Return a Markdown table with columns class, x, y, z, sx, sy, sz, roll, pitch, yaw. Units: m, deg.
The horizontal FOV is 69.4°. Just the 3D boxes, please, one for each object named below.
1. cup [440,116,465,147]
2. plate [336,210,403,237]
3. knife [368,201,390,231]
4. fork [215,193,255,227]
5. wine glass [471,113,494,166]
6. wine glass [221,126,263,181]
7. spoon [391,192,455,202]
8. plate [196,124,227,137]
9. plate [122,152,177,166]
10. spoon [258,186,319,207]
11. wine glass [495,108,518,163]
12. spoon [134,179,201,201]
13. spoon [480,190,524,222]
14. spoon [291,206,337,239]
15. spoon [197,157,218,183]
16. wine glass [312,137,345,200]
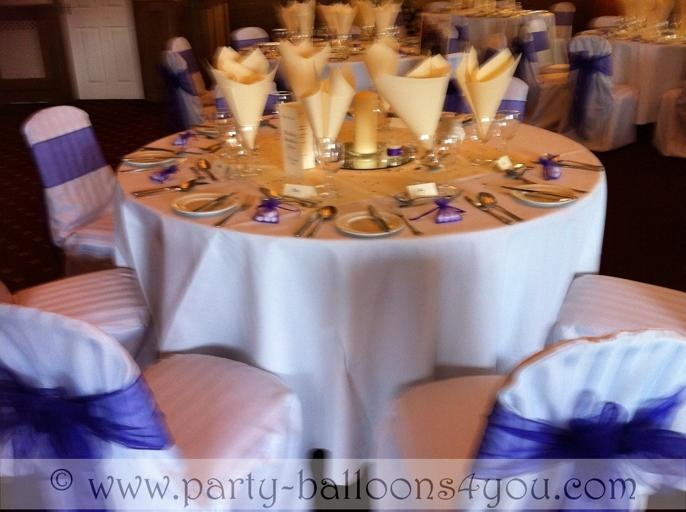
| class | x | y | z | sx | sy | sz | roll | pitch | yaw |
| --- | --- | --- | --- | --- | --- | --- | --- | --- | --- |
| cup | 0.441 | -0.482 | 2.013 | 0.132 | 0.061 | 0.143 | -3 | 57 | 5 |
| plate | 0.069 | -0.091 | 1.417 | 0.188 | 0.021 | 0.150 | -4 | 28 | -4 |
| knife | 0.100 | -0.112 | 1.448 | 0.031 | 0.020 | 0.122 | -2 | 28 | -17 |
| fork | -0.330 | -0.136 | 1.518 | 0.038 | 0.027 | 0.226 | 33 | 34 | 7 |
| wine glass | 0.545 | -0.474 | 1.919 | 0.073 | 0.153 | 0.306 | 5 | 29 | 13 |
| wine glass | -0.387 | -0.416 | 1.839 | 0.142 | 0.159 | 0.368 | -8 | 29 | -9 |
| spoon | 0.253 | -0.188 | 1.592 | 0.110 | 0.014 | 0.069 | -2 | 19 | 0 |
| plate | -0.572 | -0.537 | 2.138 | 0.133 | 0.029 | 0.130 | -13 | 26 | -34 |
| plate | -0.755 | -0.374 | 1.922 | 0.222 | 0.019 | 0.146 | 4 | 28 | 11 |
| spoon | -0.196 | -0.183 | 1.591 | 0.237 | 0.020 | 0.081 | 13 | 32 | 27 |
| wine glass | 0.650 | -0.514 | 1.985 | 0.087 | 0.128 | 0.166 | 8 | 30 | 17 |
| spoon | -0.595 | -0.220 | 1.674 | 0.219 | 0.030 | 0.037 | -15 | 40 | -20 |
| spoon | 0.477 | -0.154 | 1.522 | 0.047 | 0.031 | 0.189 | -24 | 41 | -10 |
| spoon | -0.084 | -0.098 | 1.444 | 0.056 | 0.022 | 0.167 | 14 | 35 | 10 |
| spoon | -0.497 | -0.315 | 1.807 | 0.046 | 0.028 | 0.208 | -18 | 39 | -13 |
| wine glass | -0.052 | -0.280 | 1.609 | 0.129 | 0.229 | 0.118 | -9 | 39 | -11 |
